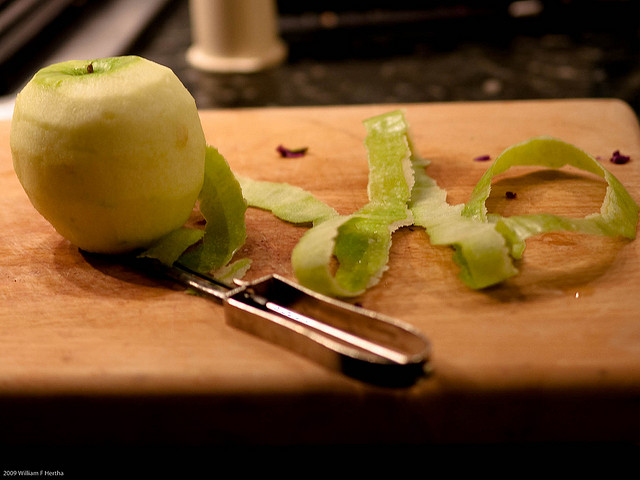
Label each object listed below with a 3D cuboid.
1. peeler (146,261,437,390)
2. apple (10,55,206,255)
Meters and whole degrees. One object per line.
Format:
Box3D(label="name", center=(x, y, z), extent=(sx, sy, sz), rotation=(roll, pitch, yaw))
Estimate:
Box3D(label="peeler", center=(-0.064, 0.083, 0.811), extent=(0.408, 0.053, 0.098), rotation=(17, 22, 34))
Box3D(label="apple", center=(-0.276, -0.108, 0.901), extent=(0.245, 0.246, 0.230), rotation=(3, 24, 5))
